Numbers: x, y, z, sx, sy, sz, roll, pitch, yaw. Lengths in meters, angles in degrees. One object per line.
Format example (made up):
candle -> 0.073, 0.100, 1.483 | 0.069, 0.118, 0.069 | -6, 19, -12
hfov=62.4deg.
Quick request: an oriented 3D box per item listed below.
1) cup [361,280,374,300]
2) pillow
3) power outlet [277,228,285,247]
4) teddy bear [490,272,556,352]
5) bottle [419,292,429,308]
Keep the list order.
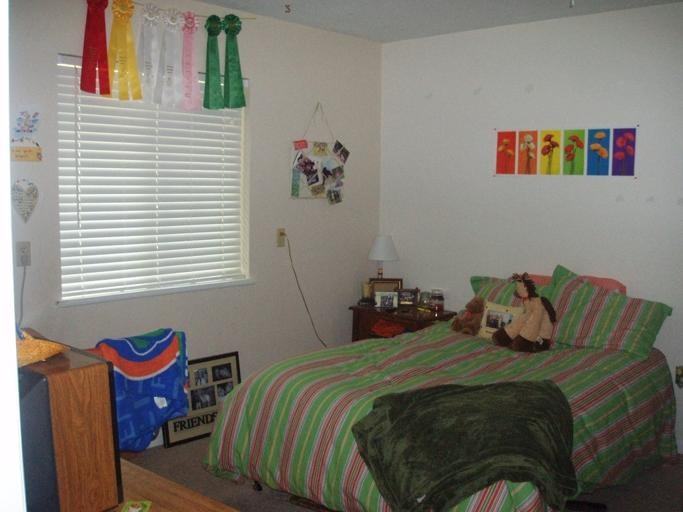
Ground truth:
cup -> 0.215, 0.317, 5.042 | 0.124, 0.148, 0.128 | 1, -2, 0
pillow -> 1.634, 0.362, 3.717 | 0.754, 0.272, 0.694 | 9, 16, 42
power outlet -> -0.497, -0.147, 4.583 | 0.023, 0.155, 0.086 | 10, 13, 39
teddy bear -> 1.286, 0.377, 3.857 | 0.397, 0.582, 0.421 | 2, 0, 29
bottle -> 0.701, 0.371, 4.800 | 0.092, 0.104, 0.030 | -4, -20, 41
